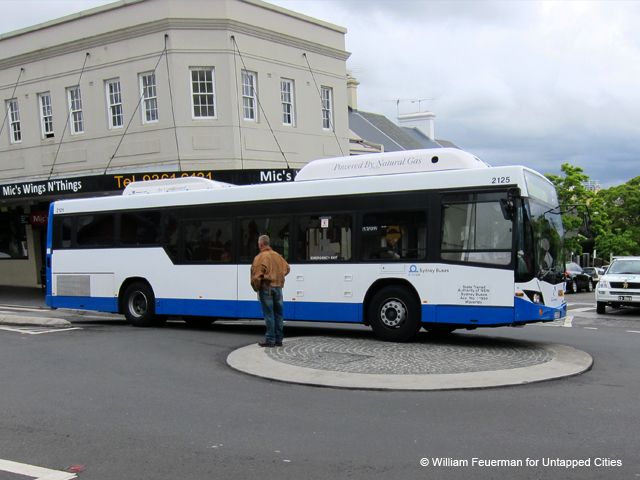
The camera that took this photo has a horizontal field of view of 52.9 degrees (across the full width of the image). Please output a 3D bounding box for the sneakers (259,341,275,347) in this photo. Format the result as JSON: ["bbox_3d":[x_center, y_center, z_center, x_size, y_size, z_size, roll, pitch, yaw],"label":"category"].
[{"bbox_3d":[-1.007,1.965,12.177,0.293,0.138,0.107,-2,-3,20],"label":"sneakers"}]

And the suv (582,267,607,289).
[{"bbox_3d":[13.422,1.869,31.604,1.188,0.944,2.646,-1,2,28],"label":"suv"}]

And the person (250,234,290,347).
[{"bbox_3d":[-0.960,0.965,12.214,0.522,2.083,0.657,1,2,29],"label":"person"}]
